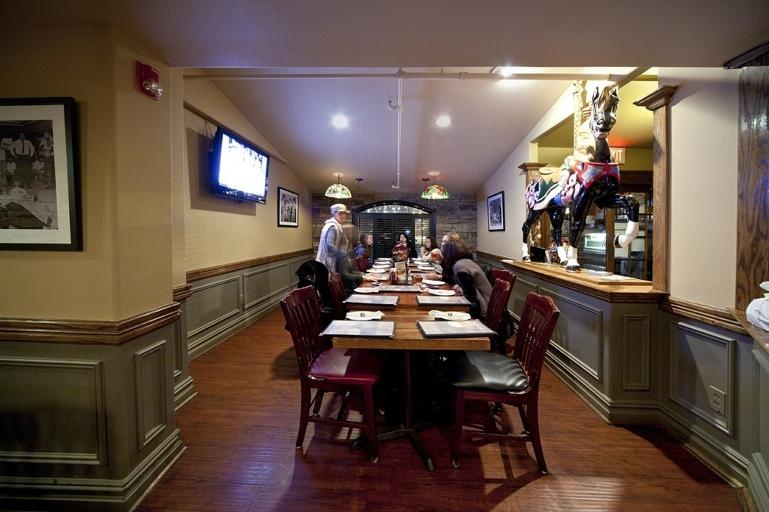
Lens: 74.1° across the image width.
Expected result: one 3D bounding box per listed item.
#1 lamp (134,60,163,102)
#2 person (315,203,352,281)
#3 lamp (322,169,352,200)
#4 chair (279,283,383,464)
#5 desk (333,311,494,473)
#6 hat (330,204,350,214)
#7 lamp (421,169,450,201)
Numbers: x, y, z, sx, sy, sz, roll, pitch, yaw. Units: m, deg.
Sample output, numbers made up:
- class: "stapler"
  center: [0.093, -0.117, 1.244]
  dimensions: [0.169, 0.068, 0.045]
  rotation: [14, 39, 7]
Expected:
- class: "lamp"
  center: [-1.697, -1.260, 3.683]
  dimensions: [0.082, 0.250, 0.217]
  rotation: [1, 5, 19]
- class: "person"
  center: [-0.695, -0.142, 6.557]
  dimensions: [0.406, 1.087, 0.486]
  rotation: [23, 29, 37]
- class: "lamp"
  center: [-0.783, -1.133, 8.080]
  dimensions: [0.468, 0.511, 0.482]
  rotation: [2, 7, 8]
- class: "chair"
  center: [-0.195, 0.854, 4.569]
  dimensions: [1.076, 1.697, 1.177]
  rotation: [0, 4, 7]
- class: "desk"
  center: [0.174, 0.977, 3.746]
  dimensions: [1.088, 0.944, 1.102]
  rotation: [-1, 5, -8]
- class: "hat"
  center: [-0.612, -0.594, 6.466]
  dimensions: [0.175, 0.091, 0.247]
  rotation: [1, 1, -19]
- class: "lamp"
  center: [0.785, -1.126, 8.006]
  dimensions: [0.472, 0.529, 0.481]
  rotation: [0, -6, 0]
